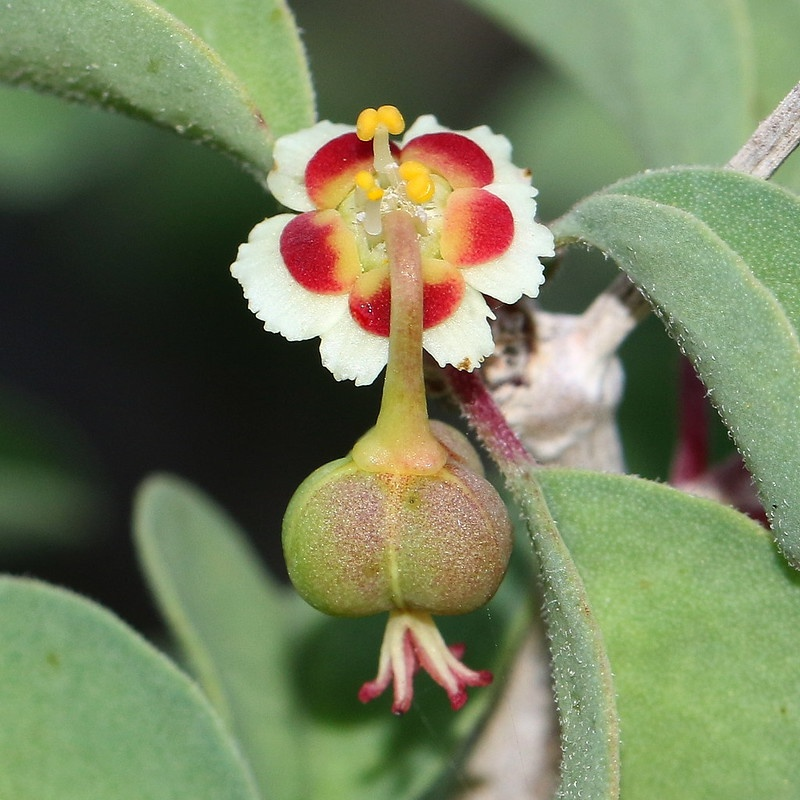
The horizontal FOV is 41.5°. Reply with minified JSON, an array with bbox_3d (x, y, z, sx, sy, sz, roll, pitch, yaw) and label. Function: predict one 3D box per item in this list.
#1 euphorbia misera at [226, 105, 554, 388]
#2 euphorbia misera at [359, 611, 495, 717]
[{"bbox_3d":[-0.003,-0.107,0.717,0.222,0.127,0.189,-8,69,-10],"label":"euphorbia misera"},{"bbox_3d":[0.015,0.166,0.650,0.071,0.024,0.071,-17,83,-8],"label":"euphorbia misera"}]
